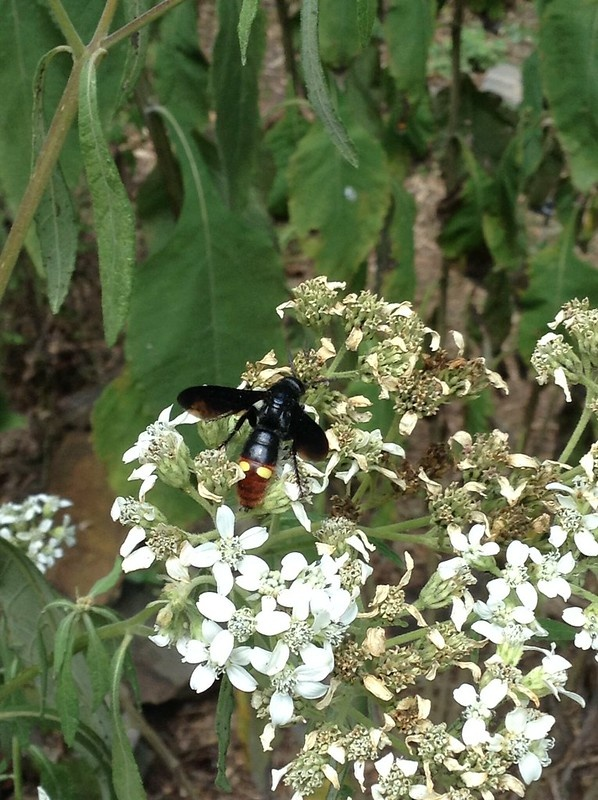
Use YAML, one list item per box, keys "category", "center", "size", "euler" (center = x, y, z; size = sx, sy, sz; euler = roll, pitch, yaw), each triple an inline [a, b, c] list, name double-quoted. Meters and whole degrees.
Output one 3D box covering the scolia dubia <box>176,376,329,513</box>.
- category: "scolia dubia"
  center: [-0.073, 0.050, 1.714]
  size: [0.263, 0.069, 0.229]
  euler: [15, 51, 2]
